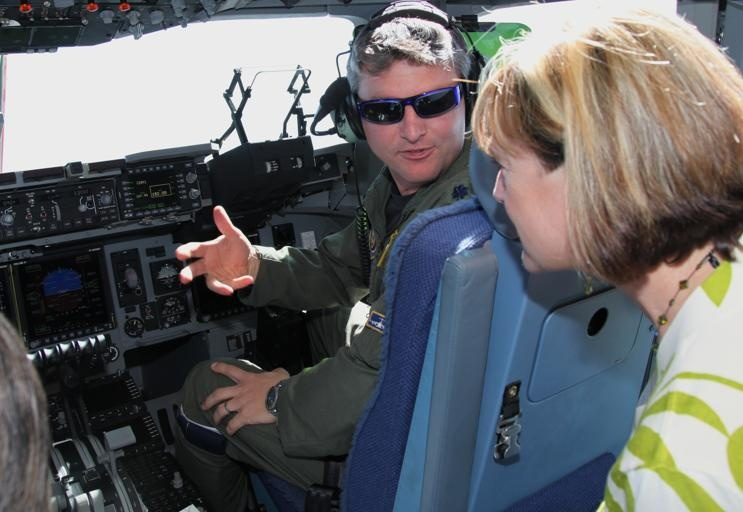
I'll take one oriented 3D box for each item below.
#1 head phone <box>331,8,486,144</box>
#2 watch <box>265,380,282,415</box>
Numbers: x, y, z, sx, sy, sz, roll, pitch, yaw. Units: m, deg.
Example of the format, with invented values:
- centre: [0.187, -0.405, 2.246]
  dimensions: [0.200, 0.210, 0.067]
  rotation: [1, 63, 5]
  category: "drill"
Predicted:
- centre: [0.105, -0.552, 1.790]
  dimensions: [0.396, 0.225, 0.501]
  rotation: [-8, 11, -3]
  category: "head phone"
- centre: [-0.287, 0.411, 1.637]
  dimensions: [0.030, 0.085, 0.063]
  rotation: [3, -5, 23]
  category: "watch"
